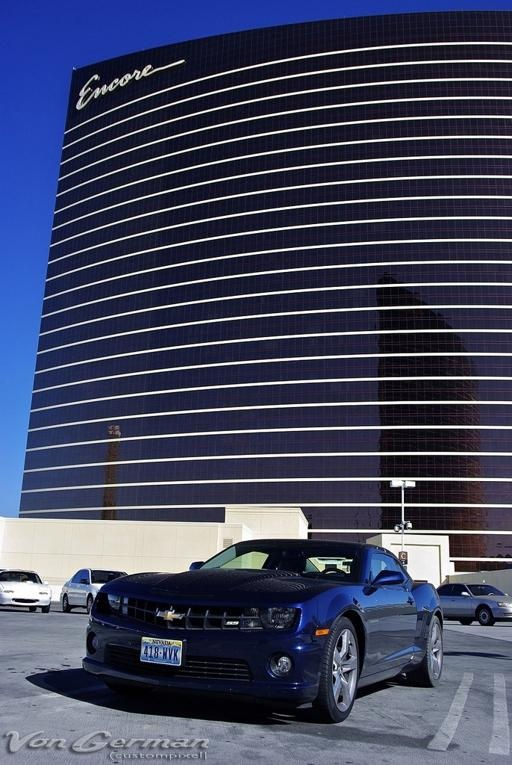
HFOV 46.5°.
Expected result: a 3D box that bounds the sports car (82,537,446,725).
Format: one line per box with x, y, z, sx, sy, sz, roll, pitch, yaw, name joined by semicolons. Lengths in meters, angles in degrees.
0.438;1.704;4.567;1.360;0.914;2.694;-9;-25;26;sports car
